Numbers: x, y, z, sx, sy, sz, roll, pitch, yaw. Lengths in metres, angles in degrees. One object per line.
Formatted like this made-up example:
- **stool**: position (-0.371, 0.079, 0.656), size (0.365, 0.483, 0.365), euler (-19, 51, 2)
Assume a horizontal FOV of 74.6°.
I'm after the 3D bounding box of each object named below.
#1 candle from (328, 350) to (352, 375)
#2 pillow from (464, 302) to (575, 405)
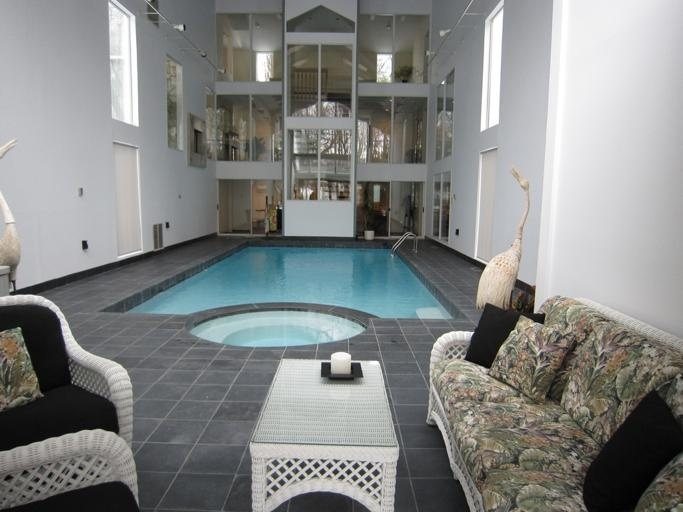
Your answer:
- **candle**: position (-0.007, 0.673, 2.886), size (0.114, 0.129, 0.124), euler (2, 7, 8)
- **pillow**: position (1.181, 0.619, 2.967), size (0.153, 0.518, 0.511), euler (30, -6, -29)
